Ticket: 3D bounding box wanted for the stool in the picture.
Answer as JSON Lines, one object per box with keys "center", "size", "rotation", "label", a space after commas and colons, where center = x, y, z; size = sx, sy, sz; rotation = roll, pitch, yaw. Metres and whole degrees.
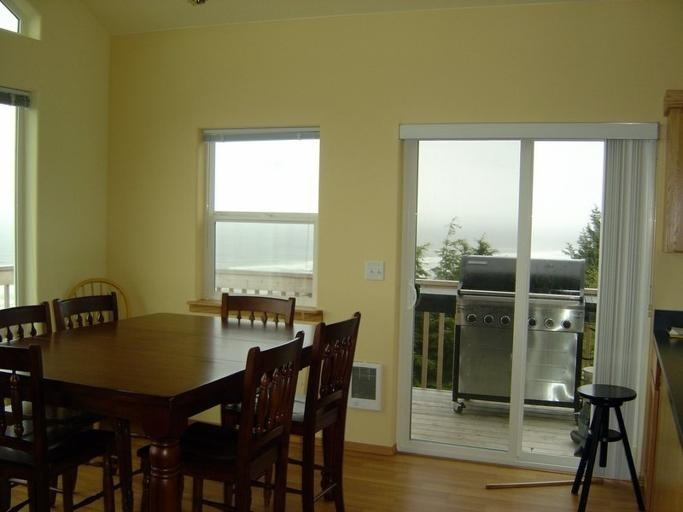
{"center": [1.725, 1.204, 3.660], "size": [0.426, 0.762, 0.785], "rotation": [4, 8, 26], "label": "stool"}
